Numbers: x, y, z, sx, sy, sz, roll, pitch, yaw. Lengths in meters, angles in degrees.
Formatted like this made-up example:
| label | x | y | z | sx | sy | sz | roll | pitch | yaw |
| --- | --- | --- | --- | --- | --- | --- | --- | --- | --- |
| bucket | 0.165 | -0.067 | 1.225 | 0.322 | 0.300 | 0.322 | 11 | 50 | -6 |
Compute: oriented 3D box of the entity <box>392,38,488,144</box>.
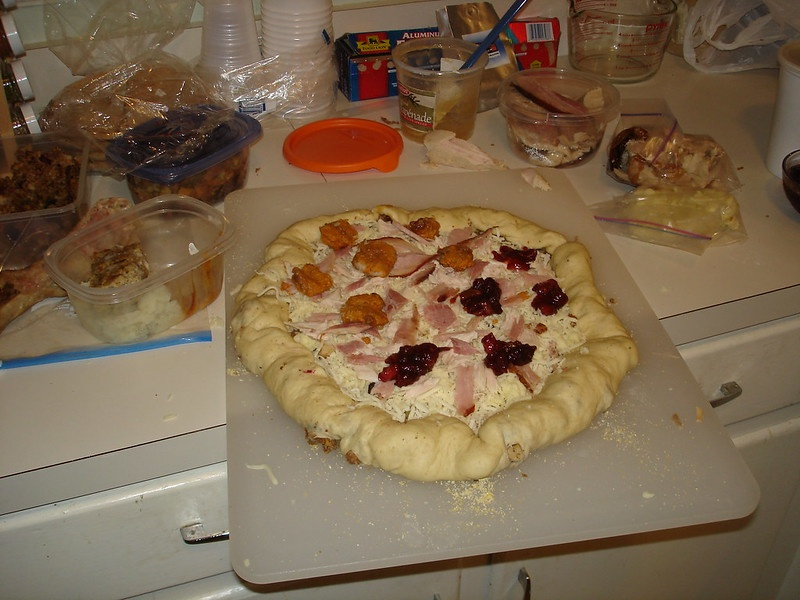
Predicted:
| label | x | y | z | sx | sy | sz | roll | pitch | yaw |
| --- | --- | --- | --- | --- | --- | --- | --- | --- | --- |
| entity | 0.168 | -0.869 | 2.776 | 0.417 | 0.332 | 0.439 | -1 | 47 | 0 |

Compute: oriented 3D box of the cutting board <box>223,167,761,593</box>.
| label | x | y | z | sx | sy | sz | roll | pitch | yaw |
| --- | --- | --- | --- | --- | --- | --- | --- | --- | --- |
| cutting board | 0.180 | 0.089 | 2.137 | 1.488 | 0.302 | 1.438 | -8 | 46 | -5 |

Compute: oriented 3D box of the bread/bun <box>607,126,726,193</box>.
| label | x | y | z | sx | sy | sz | roll | pitch | yaw |
| --- | --- | --- | --- | --- | --- | --- | --- | --- | --- |
| bread/bun | 1.043 | -0.545 | 2.496 | 0.294 | 0.120 | 0.338 | 6 | 28 | 2 |

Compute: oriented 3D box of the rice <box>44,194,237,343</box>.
| label | x | y | z | sx | sy | sz | roll | pitch | yaw |
| --- | --- | --- | --- | --- | --- | --- | --- | --- | --- |
| rice | -0.775 | -0.091 | 2.116 | 0.542 | 0.249 | 0.398 | -32 | 65 | -27 |

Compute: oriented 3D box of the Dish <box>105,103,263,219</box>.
| label | x | y | z | sx | sy | sz | roll | pitch | yaw |
| --- | --- | --- | --- | --- | --- | --- | --- | --- | --- |
| Dish | -0.754 | -0.538 | 2.315 | 0.426 | 0.194 | 0.394 | -21 | 49 | -20 |
